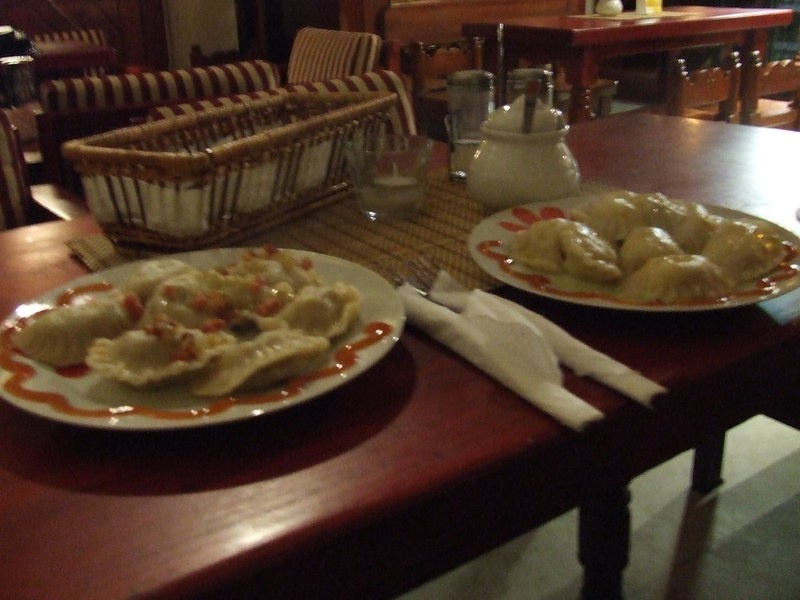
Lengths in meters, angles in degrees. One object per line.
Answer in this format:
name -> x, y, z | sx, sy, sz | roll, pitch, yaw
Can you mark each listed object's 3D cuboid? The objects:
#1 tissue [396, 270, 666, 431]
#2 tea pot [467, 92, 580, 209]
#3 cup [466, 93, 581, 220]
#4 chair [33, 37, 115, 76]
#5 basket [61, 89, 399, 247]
tissue -> 0.107, 0.041, 0.629 | 0.102, 0.059, 0.315 | -27, 43, -30
tea pot -> 0.198, -0.261, 1.009 | 0.165, 0.177, 0.171 | 0, 22, 0
cup -> 0.193, -0.242, 0.974 | 0.166, 0.177, 0.172 | -1, 22, 0
chair -> -2.049, -1.451, 3.715 | 0.336, 0.176, 0.577 | 14, 32, 24
basket -> -0.233, -0.209, 1.042 | 0.313, 0.172, 0.554 | 15, 27, 32
